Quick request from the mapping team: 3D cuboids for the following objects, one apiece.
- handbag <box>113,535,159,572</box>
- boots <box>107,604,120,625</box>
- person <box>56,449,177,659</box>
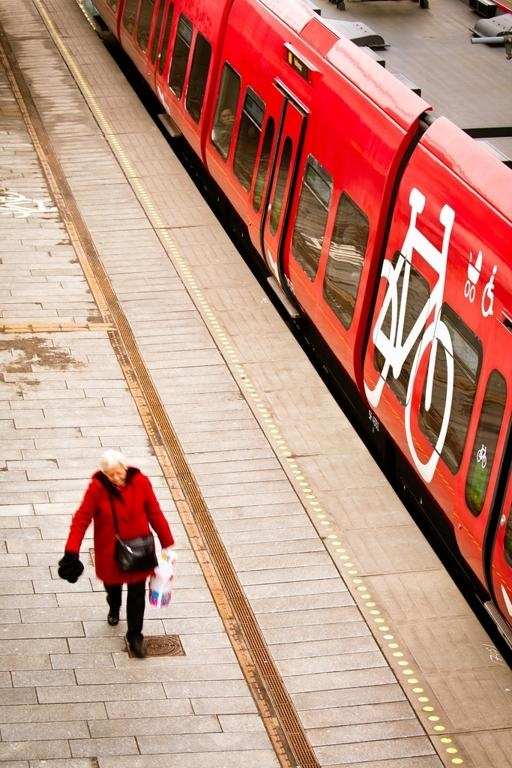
[{"bbox_3d":[-0.684,0.954,4.282,0.214,0.178,0.080,-10,10,-21],"label":"handbag"},{"bbox_3d":[-0.899,1.482,4.843,0.061,0.113,0.155,1,68,-14],"label":"boots"},{"bbox_3d":[-0.791,1.000,4.367,0.593,1.382,0.343,6,29,-6],"label":"person"}]
